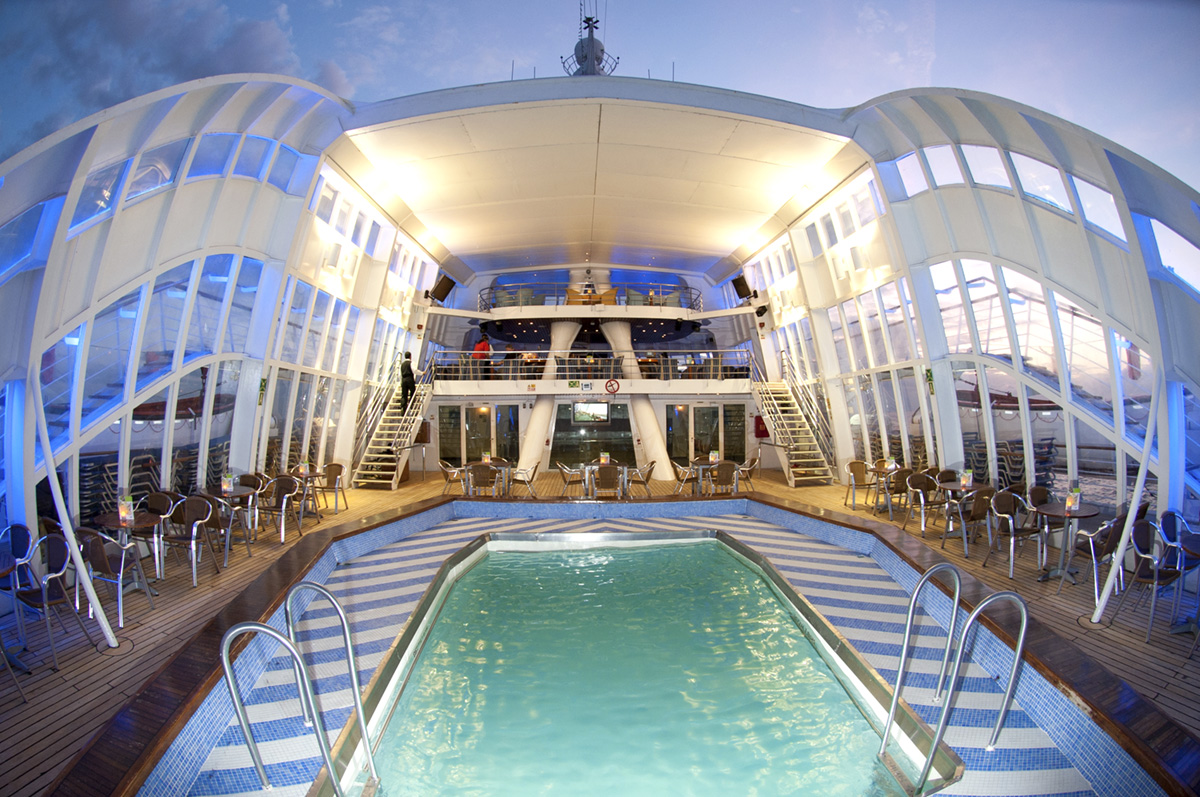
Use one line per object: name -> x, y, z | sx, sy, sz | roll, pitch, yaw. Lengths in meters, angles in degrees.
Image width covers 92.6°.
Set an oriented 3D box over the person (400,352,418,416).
person -> -5.992, -0.415, 17.829 | 0.464, 1.631, 1.233 | -4, 10, -15
